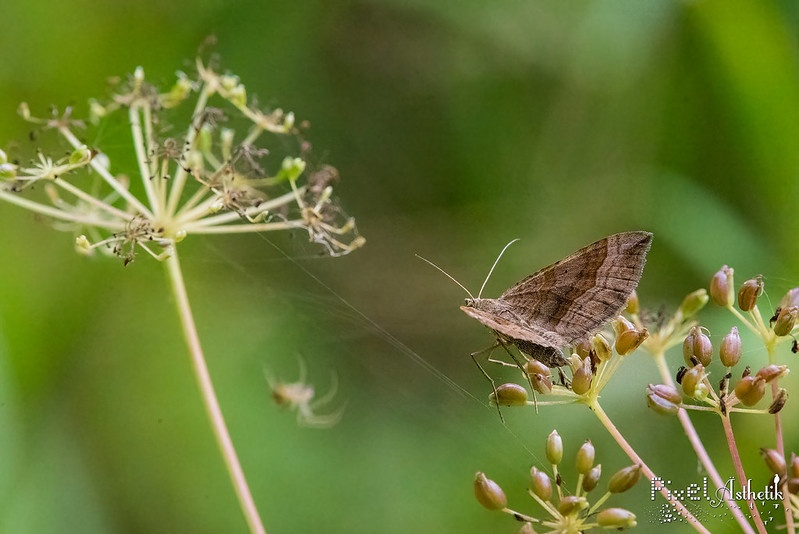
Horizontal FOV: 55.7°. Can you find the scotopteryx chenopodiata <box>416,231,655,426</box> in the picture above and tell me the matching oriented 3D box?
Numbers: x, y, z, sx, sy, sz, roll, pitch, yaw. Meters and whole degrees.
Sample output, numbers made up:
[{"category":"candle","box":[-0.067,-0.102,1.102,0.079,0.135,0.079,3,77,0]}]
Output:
[{"category":"scotopteryx chenopodiata","box":[0.273,0.063,1.549,0.387,0.328,0.237,-7,-62,-47]}]
